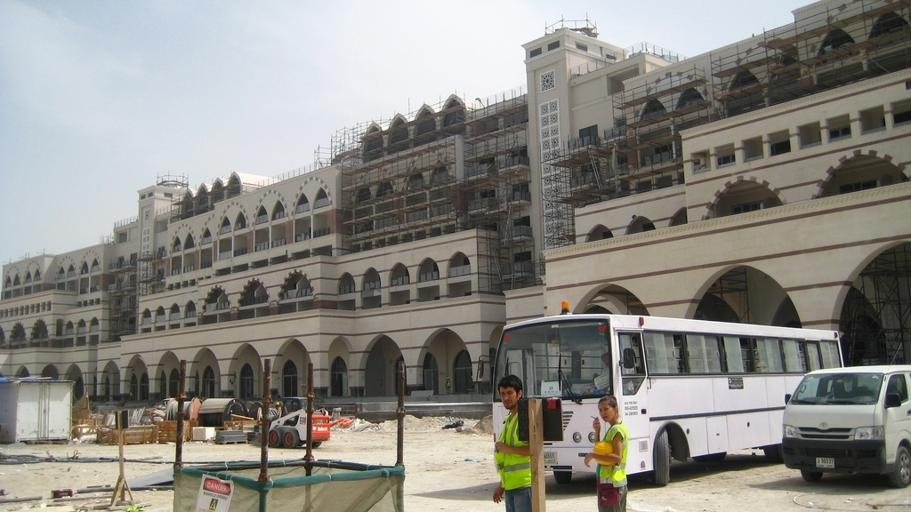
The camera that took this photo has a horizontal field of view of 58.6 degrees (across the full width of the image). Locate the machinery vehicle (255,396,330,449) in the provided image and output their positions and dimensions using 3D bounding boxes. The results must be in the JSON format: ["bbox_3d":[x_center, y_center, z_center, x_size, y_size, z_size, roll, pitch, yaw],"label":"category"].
[{"bbox_3d":[-9.585,9.616,47.168,5.364,2.487,2.622,-6,-9,42],"label":"machinery vehicle"}]

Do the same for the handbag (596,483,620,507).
[{"bbox_3d":[5.070,7.922,26.896,0.849,1.030,0.724,-3,-4,2],"label":"handbag"}]

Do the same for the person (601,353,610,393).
[{"bbox_3d":[6.004,4.606,32.000,0.340,1.515,0.279,-4,-16,6],"label":"person"}]
